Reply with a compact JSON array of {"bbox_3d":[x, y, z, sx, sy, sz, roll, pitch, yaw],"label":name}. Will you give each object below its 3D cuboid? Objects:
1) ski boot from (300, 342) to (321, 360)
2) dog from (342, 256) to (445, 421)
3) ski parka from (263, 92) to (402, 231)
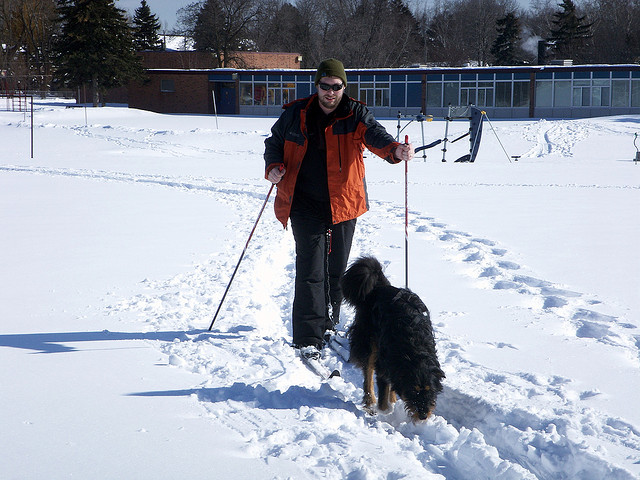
[{"bbox_3d":[-0.092,0.973,6.299,0.170,0.129,0.130,-3,12,-4],"label":"ski boot"},{"bbox_3d":[0.448,0.746,5.691,0.427,0.747,1.525,0,22,-6],"label":"dog"},{"bbox_3d":[0.090,-0.695,6.256,1.213,1.127,0.581,1,8,4],"label":"ski parka"}]
